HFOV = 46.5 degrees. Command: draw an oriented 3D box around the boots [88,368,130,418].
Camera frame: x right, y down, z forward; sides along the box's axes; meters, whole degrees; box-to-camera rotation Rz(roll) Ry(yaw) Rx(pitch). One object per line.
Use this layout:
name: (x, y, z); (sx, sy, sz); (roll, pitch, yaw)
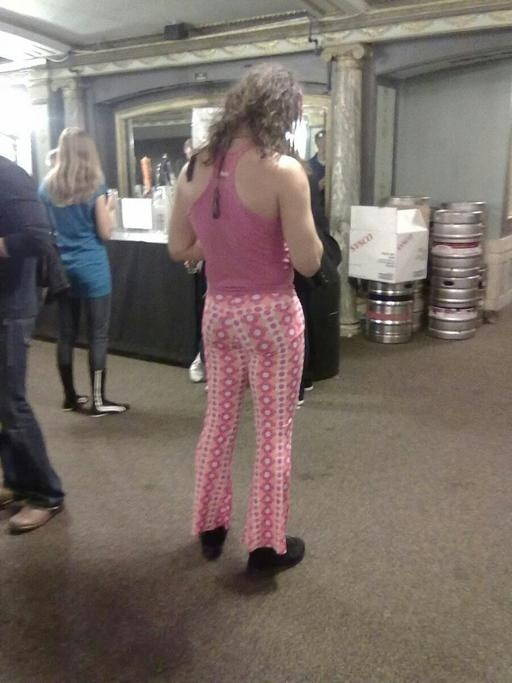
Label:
boots: (-0.791, 0.280, 3.379); (0.297, 0.344, 0.143); (-3, 18, -16)

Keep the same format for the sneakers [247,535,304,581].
sneakers: (0.056, 0.641, 1.846); (0.169, 0.077, 0.085); (-21, 26, -30)

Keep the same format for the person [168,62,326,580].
person: (-0.032, 0.015, 1.649); (0.487, 1.422, 0.314); (10, 16, 43)
